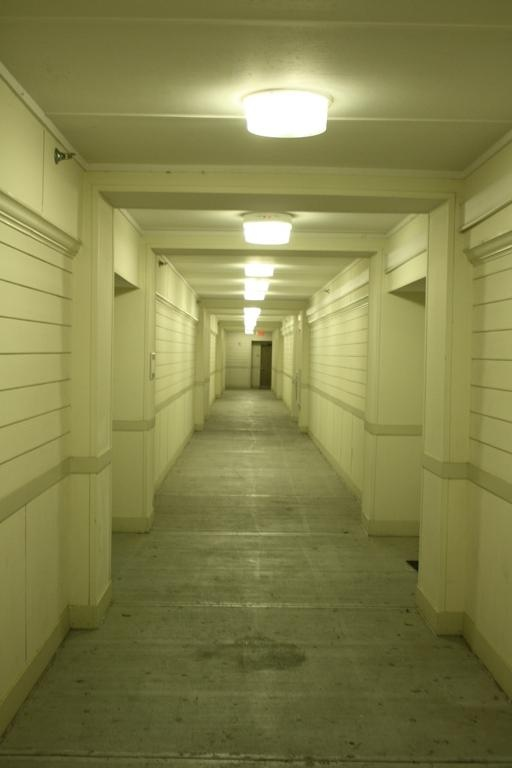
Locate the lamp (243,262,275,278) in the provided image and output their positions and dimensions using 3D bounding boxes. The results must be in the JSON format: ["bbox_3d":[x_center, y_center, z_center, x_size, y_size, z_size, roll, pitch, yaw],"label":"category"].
[{"bbox_3d":[0.025,-1.271,6.384,0.288,0.125,0.443,1,3,-3],"label":"lamp"}]
